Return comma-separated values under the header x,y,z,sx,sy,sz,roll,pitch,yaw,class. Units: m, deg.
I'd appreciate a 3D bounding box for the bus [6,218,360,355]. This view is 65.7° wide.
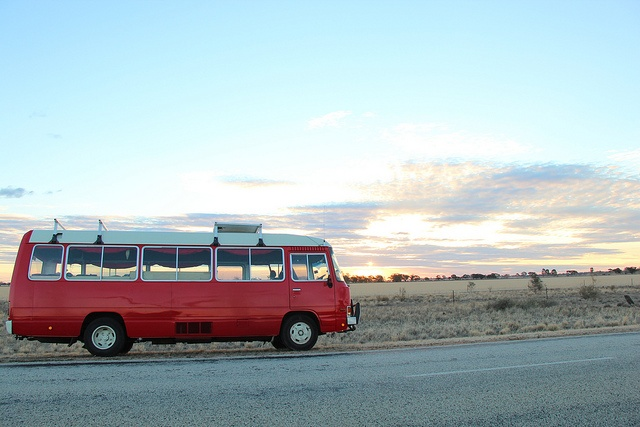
x,y,z,sx,sy,sz,roll,pitch,yaw,class
-5.082,2.648,19.141,13.990,4.908,4.743,0,-6,-6,bus
